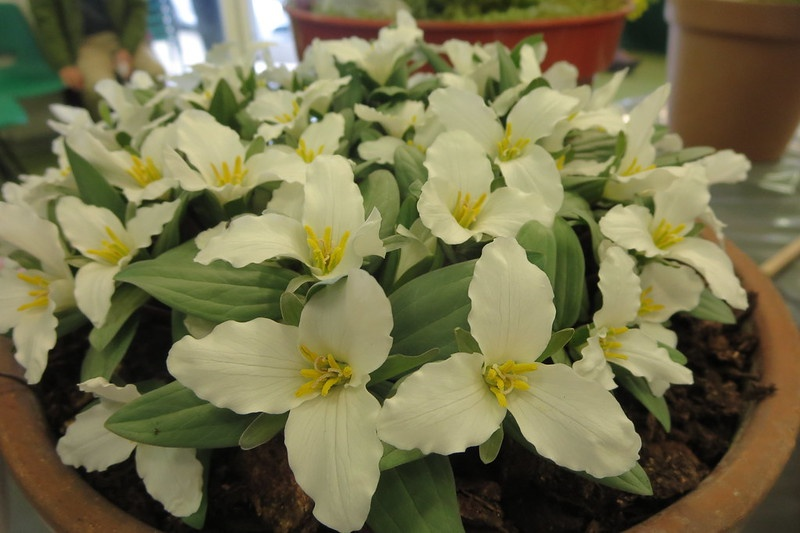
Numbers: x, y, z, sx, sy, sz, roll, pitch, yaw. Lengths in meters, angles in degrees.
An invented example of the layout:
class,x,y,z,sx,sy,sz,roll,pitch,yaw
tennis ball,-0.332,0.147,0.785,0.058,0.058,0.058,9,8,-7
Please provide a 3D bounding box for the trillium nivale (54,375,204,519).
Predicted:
class,x,y,z,sx,sy,sz,roll,pitch,yaw
trillium nivale,-0.593,0.425,1.552,0.267,0.139,0.355,-16,85,-7
